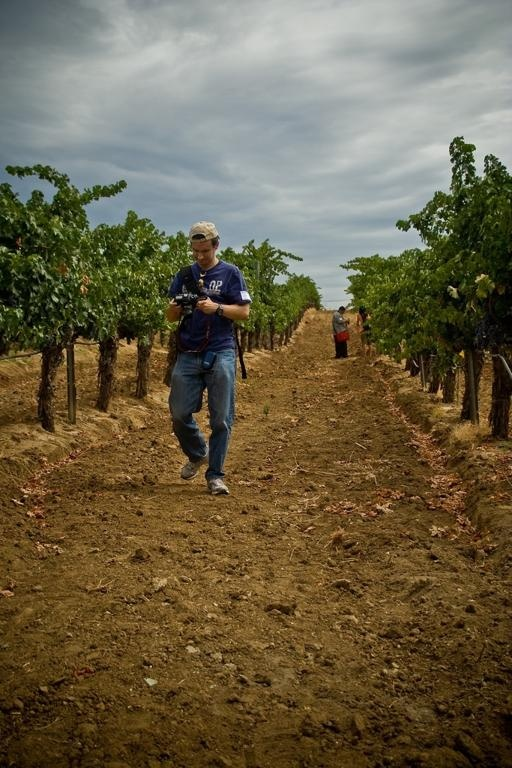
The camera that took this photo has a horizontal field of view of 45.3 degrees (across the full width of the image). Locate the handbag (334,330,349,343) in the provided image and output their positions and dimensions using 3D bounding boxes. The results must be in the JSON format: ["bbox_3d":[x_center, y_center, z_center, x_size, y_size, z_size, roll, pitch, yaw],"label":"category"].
[{"bbox_3d":[3.059,-1.669,21.523,0.447,0.322,0.437,-12,10,-12],"label":"handbag"}]

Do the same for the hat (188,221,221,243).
[{"bbox_3d":[-0.410,-1.188,4.823,0.205,0.144,0.145,4,6,-9],"label":"hat"}]

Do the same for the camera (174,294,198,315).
[{"bbox_3d":[-0.537,-0.638,4.872,0.212,0.191,0.147,0,5,3],"label":"camera"}]

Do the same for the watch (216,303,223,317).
[{"bbox_3d":[-0.291,-0.588,4.873,0.053,0.085,0.082,1,23,-6],"label":"watch"}]

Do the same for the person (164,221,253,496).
[{"bbox_3d":[-0.445,-0.134,5.159,0.660,2.311,0.871,5,7,-5],"label":"person"}]

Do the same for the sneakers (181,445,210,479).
[{"bbox_3d":[-0.558,0.726,5.696,0.144,0.184,0.405,22,47,18],"label":"sneakers"}]
